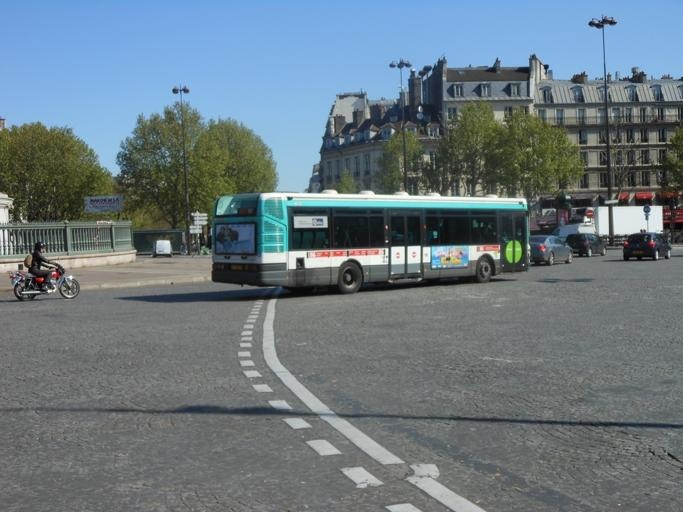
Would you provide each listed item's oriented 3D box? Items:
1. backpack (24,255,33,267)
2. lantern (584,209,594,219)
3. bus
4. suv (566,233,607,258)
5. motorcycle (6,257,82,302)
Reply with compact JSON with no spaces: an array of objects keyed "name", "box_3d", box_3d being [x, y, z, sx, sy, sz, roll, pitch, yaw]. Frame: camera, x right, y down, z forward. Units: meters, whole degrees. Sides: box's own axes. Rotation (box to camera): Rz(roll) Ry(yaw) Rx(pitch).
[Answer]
[{"name":"backpack","box_3d":[-8.539,0.146,26.540,0.235,0.315,0.332,2,17,0]},{"name":"lantern","box_3d":[17.754,-3.057,69.446,0.529,0.852,0.776,2,7,14]},{"name":"bus","box_3d":[1.094,-0.470,27.824,10.967,3.280,3.244,-1,1,-36]},{"name":"suv","box_3d":[13.058,-0.601,51.385,1.186,1.072,2.690,2,6,35]},{"name":"motorcycle","box_3d":[-8.210,0.630,26.604,2.101,1.402,1.100,-1,2,-31]}]
